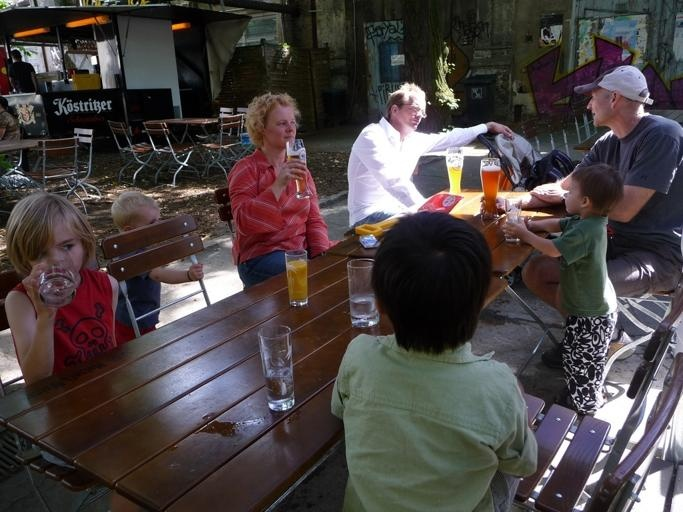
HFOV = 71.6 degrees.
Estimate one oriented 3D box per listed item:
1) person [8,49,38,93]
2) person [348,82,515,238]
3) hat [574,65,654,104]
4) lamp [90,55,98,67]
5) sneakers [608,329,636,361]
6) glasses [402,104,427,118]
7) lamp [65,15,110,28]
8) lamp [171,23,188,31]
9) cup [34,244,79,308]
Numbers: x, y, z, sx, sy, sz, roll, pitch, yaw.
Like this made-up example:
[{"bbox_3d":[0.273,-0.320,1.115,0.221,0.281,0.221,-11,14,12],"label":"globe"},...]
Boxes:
[{"bbox_3d":[-8.149,-4.716,11.986,0.590,1.176,1.685,-15,22,-28],"label":"person"},{"bbox_3d":[0.786,-0.782,3.961,1.416,1.170,0.967,3,9,-4],"label":"person"},{"bbox_3d":[1.829,-1.119,3.192,0.507,0.229,0.318,14,23,33],"label":"hat"},{"bbox_3d":[-7.048,-5.580,13.464,0.156,0.328,1.102,-13,20,-24],"label":"lamp"},{"bbox_3d":[1.855,0.604,3.204,0.199,0.181,0.547,-4,-4,28],"label":"sneakers"},{"bbox_3d":[0.610,-1.187,3.871,0.198,0.123,0.084,-19,24,-38],"label":"glasses"},{"bbox_3d":[-6.605,-6.051,12.283,0.446,0.218,1.891,-20,24,-41],"label":"lamp"},{"bbox_3d":[-4.772,-6.849,14.130,0.417,0.085,0.388,-2,6,-4],"label":"lamp"},{"bbox_3d":[-1.070,0.065,1.765,0.137,0.216,0.212,10,41,-15],"label":"cup"}]
